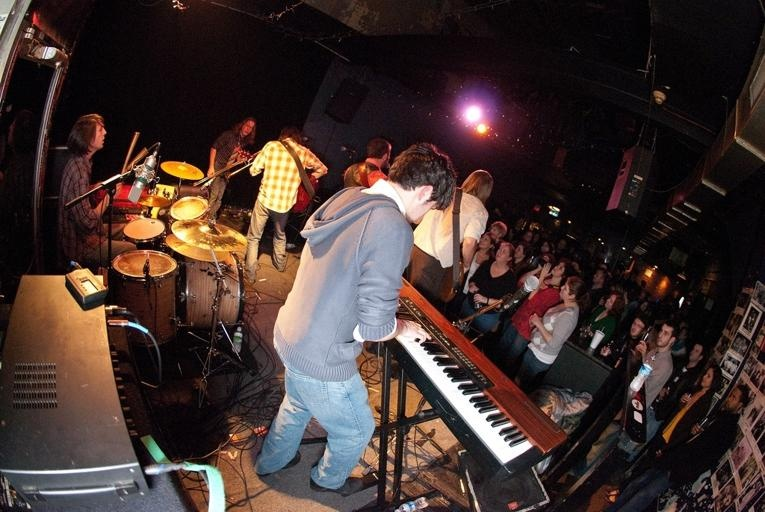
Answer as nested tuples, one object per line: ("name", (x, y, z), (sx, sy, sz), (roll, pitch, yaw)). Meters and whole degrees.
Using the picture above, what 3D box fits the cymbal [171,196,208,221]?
("cymbal", (-1.953, -0.473, 4.896), (0.304, 0.199, 0.464), (21, 10, -9))

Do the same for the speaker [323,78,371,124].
("speaker", (-0.603, -2.559, 7.843), (0.373, 0.652, 0.348), (22, 28, -25))

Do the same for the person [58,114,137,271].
("person", (-3.055, -0.608, 5.200), (0.765, 1.578, 1.158), (15, 12, -38))

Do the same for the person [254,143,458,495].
("person", (-0.251, 0.461, 3.166), (0.935, 1.843, 0.472), (20, 10, -11))

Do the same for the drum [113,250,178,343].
("drum", (-2.163, 0.378, 4.394), (0.577, 0.581, 0.583), (33, 24, 16))
